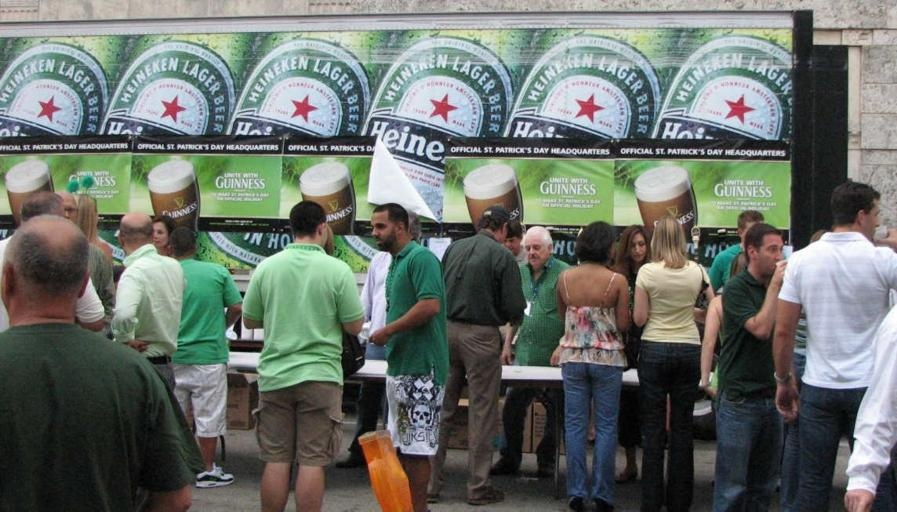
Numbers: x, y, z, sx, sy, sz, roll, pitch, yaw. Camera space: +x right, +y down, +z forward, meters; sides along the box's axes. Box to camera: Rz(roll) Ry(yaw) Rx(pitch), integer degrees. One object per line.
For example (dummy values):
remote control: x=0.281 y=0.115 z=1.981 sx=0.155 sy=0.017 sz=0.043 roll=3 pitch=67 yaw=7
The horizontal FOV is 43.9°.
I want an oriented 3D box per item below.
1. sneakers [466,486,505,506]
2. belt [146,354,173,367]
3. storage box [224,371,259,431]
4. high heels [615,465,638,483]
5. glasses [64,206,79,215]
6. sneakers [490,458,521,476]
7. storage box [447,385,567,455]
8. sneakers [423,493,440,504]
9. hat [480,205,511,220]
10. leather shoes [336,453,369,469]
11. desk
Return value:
sneakers: x=0.350 y=2.283 z=10.595 sx=0.354 sy=0.145 sz=0.155 roll=-2 pitch=5 yaw=-19
belt: x=-2.644 y=0.962 z=10.138 sx=0.240 sy=0.100 sz=0.301 roll=-1 pitch=-3 yaw=-1
storage box: x=-2.350 y=1.637 z=12.541 sx=0.448 sy=0.545 sz=0.550 roll=-4 pitch=-2 yaw=10
high heels: x=1.793 y=2.215 z=11.244 sx=0.258 sy=0.144 sz=0.103 roll=2 pitch=-4 yaw=-30
glasses: x=-3.217 y=-0.370 z=9.453 sx=0.042 sy=0.094 sz=0.156 roll=1 pitch=-3 yaw=11
sneakers: x=0.574 y=2.163 z=11.304 sx=0.393 sy=0.151 sz=0.125 roll=7 pitch=-11 yaw=-21
storage box: x=0.537 y=1.642 z=11.405 sx=1.545 sy=0.761 sz=0.937 roll=-2 pitch=-16 yaw=6
sneakers: x=-0.129 y=2.301 z=10.586 sx=0.094 sy=0.085 sz=0.200 roll=-1 pitch=-3 yaw=28
hat: x=0.479 y=-0.421 z=10.913 sx=0.246 sy=0.154 sz=0.307 roll=0 pitch=-3 yaw=14
leather shoes: x=-0.988 y=2.130 z=11.496 sx=0.346 sy=0.132 sz=0.112 roll=4 pitch=-5 yaw=-19
desk: x=0.472 y=1.471 z=11.230 sx=1.545 sy=0.765 sz=3.647 roll=8 pitch=5 yaw=34
